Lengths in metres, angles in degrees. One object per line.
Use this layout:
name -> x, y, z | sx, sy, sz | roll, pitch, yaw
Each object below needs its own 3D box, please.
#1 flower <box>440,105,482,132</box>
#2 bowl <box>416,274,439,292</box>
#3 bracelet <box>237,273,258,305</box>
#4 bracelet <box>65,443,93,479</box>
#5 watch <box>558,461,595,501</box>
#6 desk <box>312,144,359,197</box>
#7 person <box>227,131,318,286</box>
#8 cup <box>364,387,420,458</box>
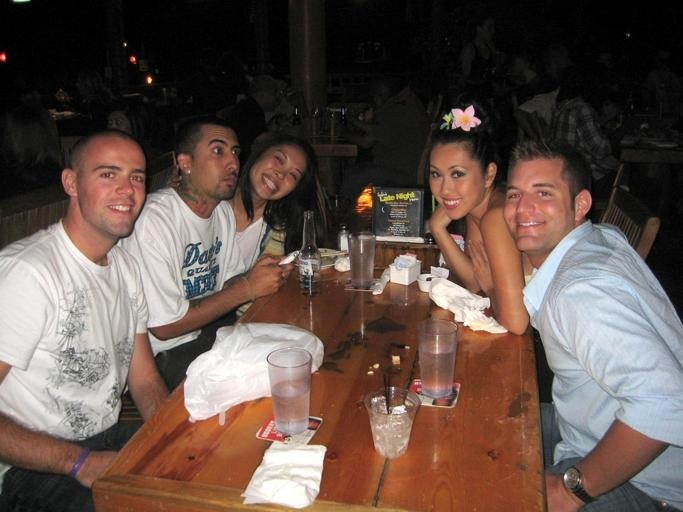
flower -> 0.590, -0.673, 2.474 | 0.199, 0.117, 0.141 | 2, 21, 11
bowl -> 0.418, 0.127, 2.442 | 0.082, 0.040, 0.081 | -2, 23, 1
bracelet -> -0.447, 0.187, 2.485 | 0.065, 0.161, 0.134 | -19, 21, -17
bracelet -> -0.932, 0.730, 1.799 | 0.023, 0.090, 0.090 | 33, 48, -15
watch -> 0.756, 0.734, 1.631 | 0.073, 0.110, 0.107 | -43, 39, 6
desk -> -0.077, -1.093, 6.447 | 0.500, 0.861, 1.809 | -2, 21, -1
person -> -0.387, -0.302, 3.276 | 0.628, 0.831, 0.324 | 29, 3, 39
cup -> 0.143, 0.484, 1.500 | 0.173, 0.152, 0.165 | 0, 6, 0
